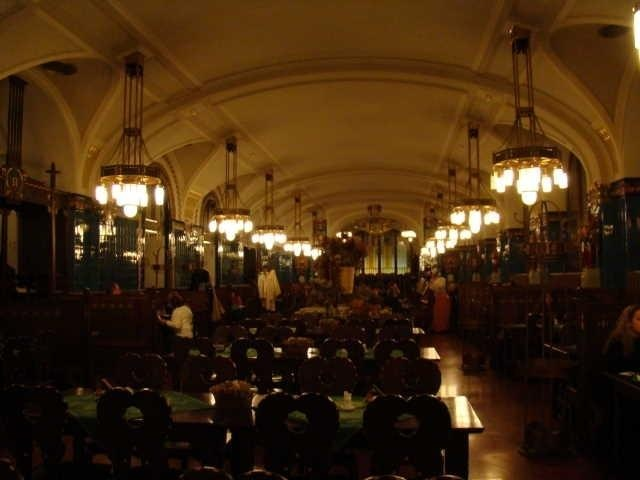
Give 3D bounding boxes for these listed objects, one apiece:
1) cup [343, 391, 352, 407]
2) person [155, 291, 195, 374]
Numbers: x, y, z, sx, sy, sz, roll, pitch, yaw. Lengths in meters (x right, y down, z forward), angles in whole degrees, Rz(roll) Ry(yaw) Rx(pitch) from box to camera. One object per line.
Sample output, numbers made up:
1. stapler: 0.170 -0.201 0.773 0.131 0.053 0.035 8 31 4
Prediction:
1. cup: 0.302 1.726 6.739 0.113 0.157 0.110 -1 -3 0
2. person: -2.560 1.604 10.980 0.541 1.334 0.533 2 0 6
